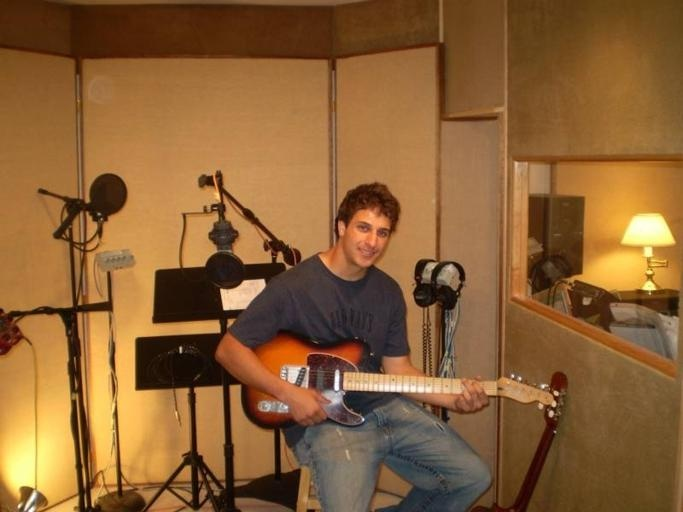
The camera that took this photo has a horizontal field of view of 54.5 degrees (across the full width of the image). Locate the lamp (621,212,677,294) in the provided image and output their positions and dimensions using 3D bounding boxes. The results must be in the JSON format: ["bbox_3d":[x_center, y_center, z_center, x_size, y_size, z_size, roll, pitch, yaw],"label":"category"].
[{"bbox_3d":[1.542,-0.031,3.319,0.296,0.537,0.300,0,-2,22],"label":"lamp"}]

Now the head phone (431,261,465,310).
[{"bbox_3d":[0.628,0.167,3.903,0.281,0.331,0.115,-4,7,-44],"label":"head phone"}]

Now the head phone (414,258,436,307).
[{"bbox_3d":[0.489,0.161,3.902,0.160,0.233,0.248,-1,-30,9],"label":"head phone"}]
